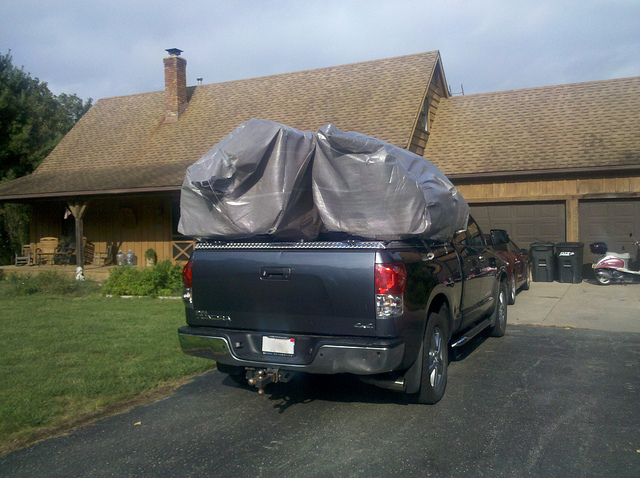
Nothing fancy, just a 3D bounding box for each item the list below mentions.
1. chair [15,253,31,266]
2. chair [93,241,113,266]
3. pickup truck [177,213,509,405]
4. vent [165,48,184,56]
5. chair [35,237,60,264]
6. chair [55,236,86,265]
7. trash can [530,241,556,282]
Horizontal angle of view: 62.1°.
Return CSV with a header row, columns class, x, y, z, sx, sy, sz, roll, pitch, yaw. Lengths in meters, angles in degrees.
class,x,y,z,sx,sy,sz,roll,pitch,yaw
chair,-12.590,0.770,22.487,0.555,0.268,0.602,-1,2,-12
chair,-8.261,0.436,20.269,0.608,0.873,1.309,-6,8,-43
pickup truck,0.583,0.899,6.419,4.118,1.994,2.020,-4,7,-34
vent,-6.069,-8.117,22.110,0.477,0.174,0.308,0,6,1
chair,-10.657,0.362,20.818,0.852,1.377,0.756,0,-4,5
chair,-9.691,0.297,20.531,1.124,1.592,1.171,2,-4,-20
trash can,6.366,0.645,15.780,0.762,1.180,0.767,0,-1,-37
